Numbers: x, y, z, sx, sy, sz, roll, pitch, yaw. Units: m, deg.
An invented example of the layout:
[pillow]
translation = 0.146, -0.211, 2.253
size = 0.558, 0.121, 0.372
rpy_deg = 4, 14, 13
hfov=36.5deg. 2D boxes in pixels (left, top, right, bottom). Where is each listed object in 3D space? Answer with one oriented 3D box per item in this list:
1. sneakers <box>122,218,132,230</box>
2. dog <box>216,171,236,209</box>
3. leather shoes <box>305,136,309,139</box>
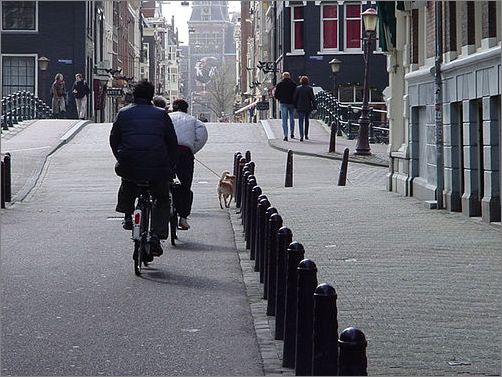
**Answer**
[sneakers]
translation = -1.450, 0.406, 9.021
size = 0.125, 0.145, 0.348
rpy_deg = 0, -3, -10
[dog]
translation = -0.491, -0.036, 14.670
size = 0.218, 0.520, 0.853
rpy_deg = 8, 13, 6
[leather shoes]
translation = 2.144, -2.020, 28.887
size = 0.115, 0.132, 0.069
rpy_deg = 4, -23, -18
